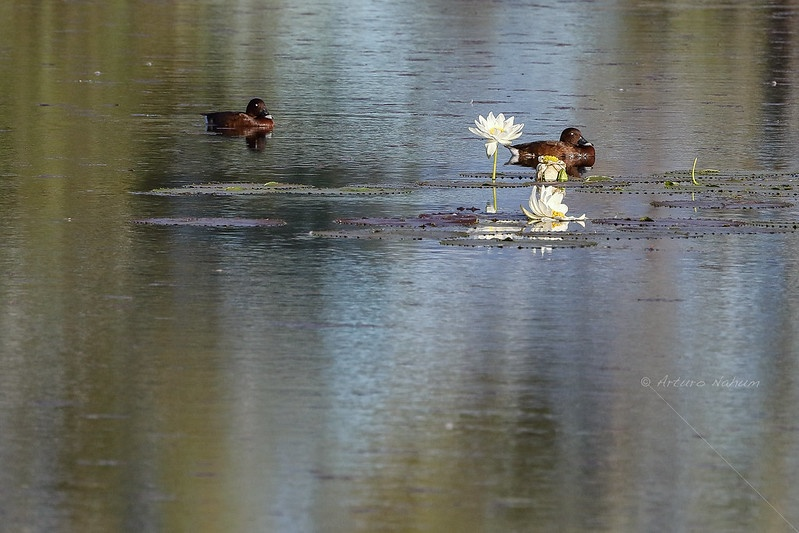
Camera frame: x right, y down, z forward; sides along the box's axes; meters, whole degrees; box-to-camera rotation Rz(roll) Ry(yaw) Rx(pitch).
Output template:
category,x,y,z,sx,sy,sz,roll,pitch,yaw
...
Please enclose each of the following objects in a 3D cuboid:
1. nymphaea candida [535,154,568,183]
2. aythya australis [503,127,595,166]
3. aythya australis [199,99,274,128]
category,x,y,z,sx,sy,sz,roll,pitch,yaw
nymphaea candida,1.188,-0.757,9.554,0.250,0.139,0.276,1,2,-5
aythya australis,1.290,-1.014,10.521,0.782,0.295,0.304,2,13,6
aythya australis,-1.592,-1.510,12.296,0.698,0.279,0.365,3,32,1
